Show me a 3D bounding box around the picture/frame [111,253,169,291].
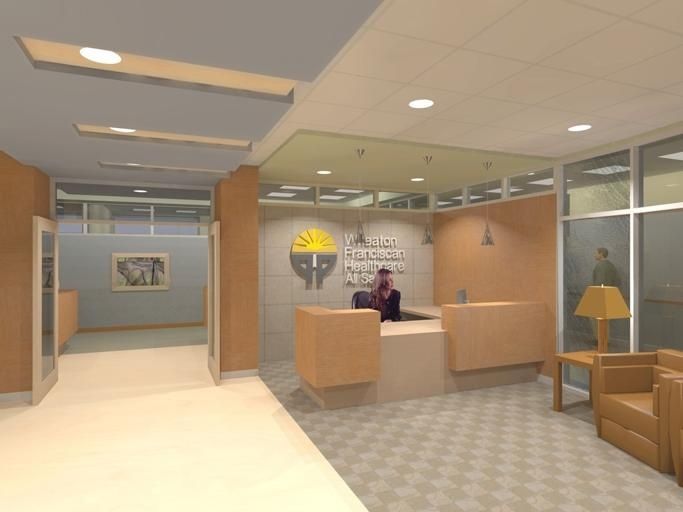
[{"bbox_3d":[-4.390,0.362,9.883,0.885,0.652,0.037,2,-5,-31],"label":"picture/frame"}]

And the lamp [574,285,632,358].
[{"bbox_3d":[3.245,0.785,5.603,0.557,0.828,0.431,-1,2,-24],"label":"lamp"}]

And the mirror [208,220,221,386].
[{"bbox_3d":[-1.842,0.676,6.718,0.180,2.335,0.808,-1,2,-17],"label":"mirror"}]

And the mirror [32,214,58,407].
[{"bbox_3d":[-3.891,0.674,5.909,0.129,2.442,1.316,0,-6,-28],"label":"mirror"}]
